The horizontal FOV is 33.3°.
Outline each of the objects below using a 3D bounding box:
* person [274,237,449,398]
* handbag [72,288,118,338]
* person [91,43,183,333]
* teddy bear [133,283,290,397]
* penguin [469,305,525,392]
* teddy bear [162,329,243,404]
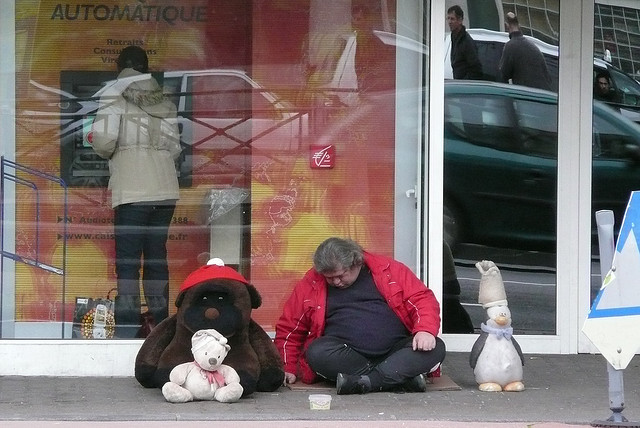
[{"bbox_3d":[0.257,0.787,8.184,1.426,1.014,1.007,-10,19,24],"label":"person"},{"bbox_3d":[-1.793,0.795,8.508,0.323,0.364,0.131,8,-6,-15],"label":"handbag"},{"bbox_3d":[-1.452,-0.215,8.547,0.721,2.253,0.496,0,12,-7],"label":"person"},{"bbox_3d":[-0.829,0.911,8.009,1.218,0.751,0.654,2,1,-12],"label":"teddy bear"},{"bbox_3d":[1.331,1.009,8.020,0.432,0.601,0.589,0,-4,-3],"label":"penguin"},{"bbox_3d":[-0.837,1.083,7.659,0.555,0.507,0.214,0,12,-4],"label":"teddy bear"}]
